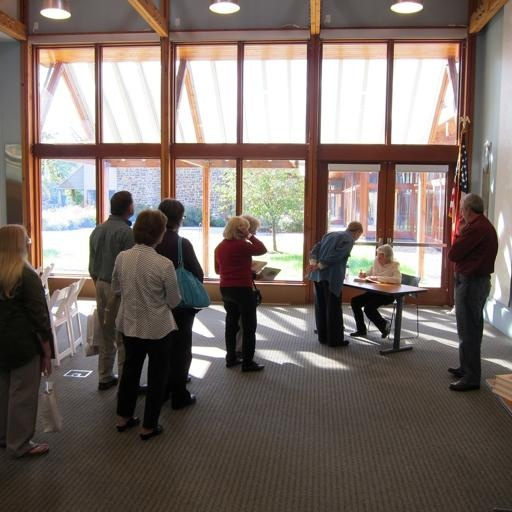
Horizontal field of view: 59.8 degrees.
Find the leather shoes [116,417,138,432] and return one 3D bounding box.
[{"bbox_3d":[-0.969,1.278,3.373,0.067,0.070,0.152,4,12,29],"label":"leather shoes"}]

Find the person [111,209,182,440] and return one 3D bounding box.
[{"bbox_3d":[-0.787,0.505,3.133,0.542,1.653,0.349,4,6,43],"label":"person"}]

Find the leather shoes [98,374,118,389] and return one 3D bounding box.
[{"bbox_3d":[-1.381,1.183,4.199,0.071,0.110,0.231,2,5,12],"label":"leather shoes"}]

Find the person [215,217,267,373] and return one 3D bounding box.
[{"bbox_3d":[-0.175,0.410,4.548,0.492,1.628,0.607,0,4,-6],"label":"person"}]

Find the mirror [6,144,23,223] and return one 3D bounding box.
[{"bbox_3d":[-4.625,-1.382,8.501,0.343,1.491,0.094,2,5,16],"label":"mirror"}]

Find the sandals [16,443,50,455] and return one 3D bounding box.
[{"bbox_3d":[-1.499,1.298,2.977,0.145,0.065,0.072,-1,3,-18],"label":"sandals"}]

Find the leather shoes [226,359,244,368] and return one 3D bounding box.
[{"bbox_3d":[-0.250,1.157,4.881,0.168,0.084,0.061,-9,11,-43],"label":"leather shoes"}]

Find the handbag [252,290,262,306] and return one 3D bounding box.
[{"bbox_3d":[0.009,0.437,4.798,0.100,0.161,0.154,1,-5,-4],"label":"handbag"}]

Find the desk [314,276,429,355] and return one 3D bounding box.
[{"bbox_3d":[1.565,0.783,5.199,0.548,0.836,1.546,5,0,26],"label":"desk"}]

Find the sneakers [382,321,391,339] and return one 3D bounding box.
[{"bbox_3d":[1.715,0.972,5.923,0.094,0.285,0.092,5,4,-2],"label":"sneakers"}]

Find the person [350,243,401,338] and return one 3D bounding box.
[{"bbox_3d":[1.635,0.471,6.095,0.557,1.338,0.564,7,-5,-15],"label":"person"}]

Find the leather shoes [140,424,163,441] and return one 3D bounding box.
[{"bbox_3d":[-0.765,1.279,3.264,0.063,0.078,0.160,8,17,39],"label":"leather shoes"}]

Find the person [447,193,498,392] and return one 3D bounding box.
[{"bbox_3d":[2.042,0.346,4.238,0.428,1.858,0.275,1,5,13],"label":"person"}]

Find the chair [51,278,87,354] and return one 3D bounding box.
[{"bbox_3d":[-2.266,0.744,5.312,0.490,0.666,0.516,-18,8,-25],"label":"chair"}]
